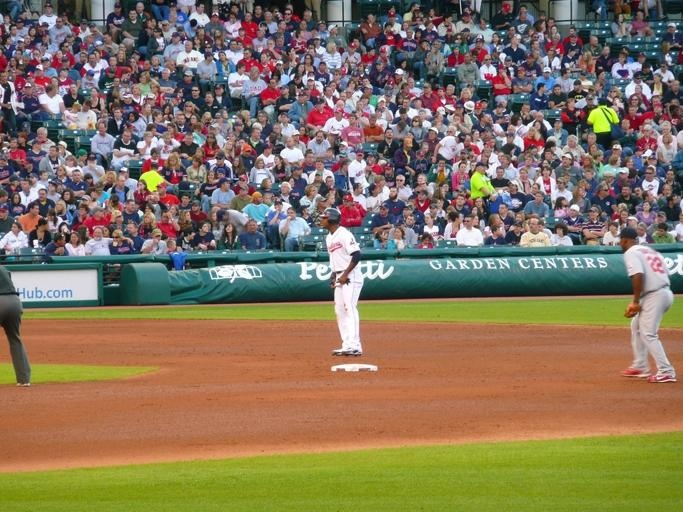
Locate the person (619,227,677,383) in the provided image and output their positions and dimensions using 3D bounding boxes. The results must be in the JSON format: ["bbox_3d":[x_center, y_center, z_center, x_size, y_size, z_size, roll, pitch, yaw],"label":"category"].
[{"bbox_3d":[5.580,0.910,31.129,0.980,2.849,0.882,0,8,9],"label":"person"}]

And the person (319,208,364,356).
[{"bbox_3d":[0.017,0.553,32.469,0.681,2.863,0.441,-1,8,4],"label":"person"}]

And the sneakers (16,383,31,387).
[{"bbox_3d":[-5.753,2.382,30.947,0.205,0.083,0.075,4,2,5],"label":"sneakers"}]

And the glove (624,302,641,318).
[{"bbox_3d":[5.268,1.015,30.959,0.286,0.282,0.206,2,4,9],"label":"glove"}]
